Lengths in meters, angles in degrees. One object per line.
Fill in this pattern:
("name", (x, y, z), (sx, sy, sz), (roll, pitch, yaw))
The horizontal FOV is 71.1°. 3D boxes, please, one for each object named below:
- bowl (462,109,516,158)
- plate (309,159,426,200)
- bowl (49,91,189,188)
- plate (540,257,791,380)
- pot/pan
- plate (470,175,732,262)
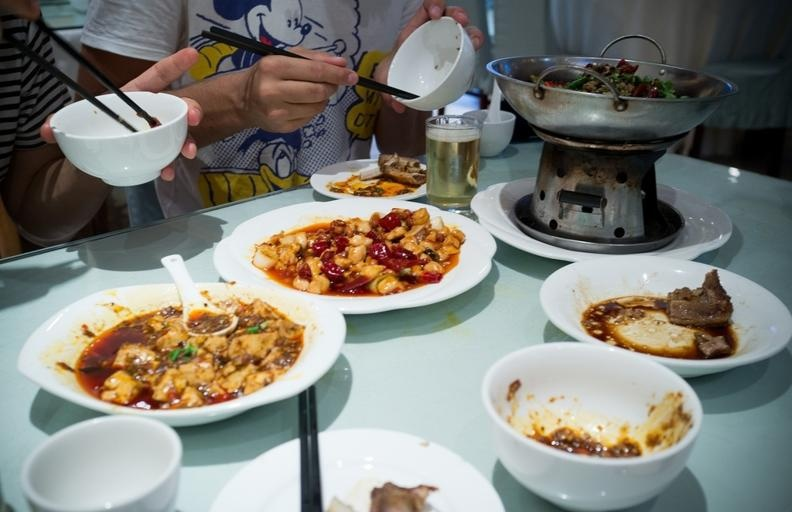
("bowl", (0.449, -0.570, 2.595), (0.244, 0.182, 0.241), (-3, 30, 2))
("plate", (-0.192, -0.315, 2.389), (0.292, 0.042, 0.289), (-21, 37, -33))
("bowl", (-0.900, -0.391, 1.885), (0.383, 0.207, 0.379), (-1, 31, 0))
("plate", (0.747, 0.141, 1.644), (0.434, 0.109, 0.428), (-7, 33, -10))
("pot/pan", (0.759, -0.575, 1.961), (0.804, 0.267, 0.772), (-2, 26, -1))
("plate", (0.755, -0.113, 1.994), (0.473, 0.050, 0.490), (3, 29, 6))
